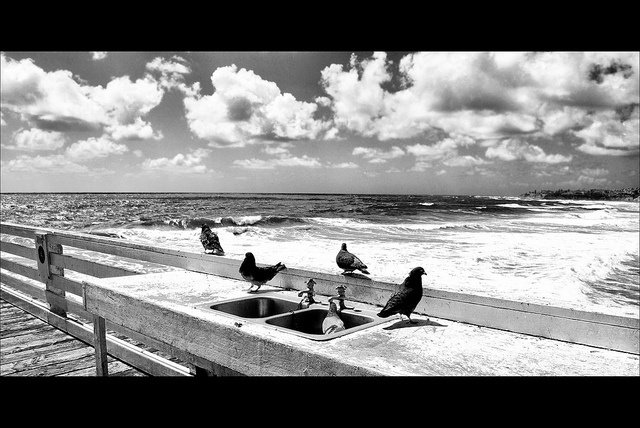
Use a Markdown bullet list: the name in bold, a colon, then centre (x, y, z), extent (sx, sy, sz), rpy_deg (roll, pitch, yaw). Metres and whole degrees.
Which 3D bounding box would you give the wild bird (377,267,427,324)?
- **wild bird**: centre (0.478, 0.496, 2.720), extent (0.286, 0.346, 0.085), rpy_deg (-3, 4, -11)

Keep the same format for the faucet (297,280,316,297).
- **faucet**: centre (-0.095, 0.515, 3.134), extent (0.137, 0.085, 0.102), rpy_deg (-2, 7, -14)

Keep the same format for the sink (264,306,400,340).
- **sink**: centre (0.012, 0.697, 2.844), extent (0.587, 0.209, 0.476), rpy_deg (1, 1, -9)

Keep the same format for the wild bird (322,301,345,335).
- **wild bird**: centre (0.079, 0.639, 2.765), extent (0.086, 0.115, 0.264), rpy_deg (-6, 3, -4)

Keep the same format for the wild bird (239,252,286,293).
- **wild bird**: centre (-0.393, 0.448, 3.402), extent (0.378, 0.313, 0.210), rpy_deg (2, -23, 1)
